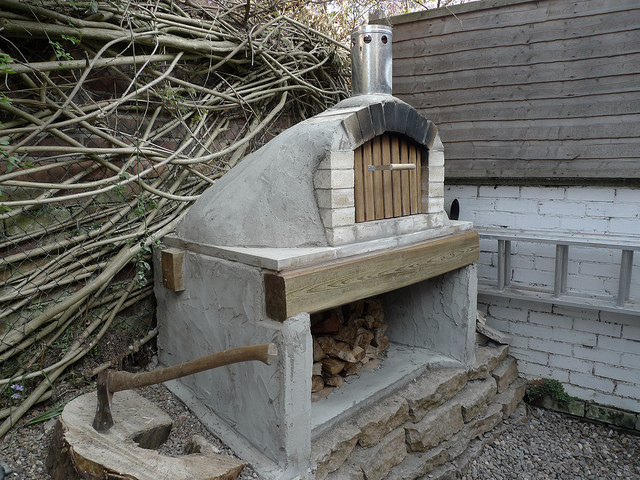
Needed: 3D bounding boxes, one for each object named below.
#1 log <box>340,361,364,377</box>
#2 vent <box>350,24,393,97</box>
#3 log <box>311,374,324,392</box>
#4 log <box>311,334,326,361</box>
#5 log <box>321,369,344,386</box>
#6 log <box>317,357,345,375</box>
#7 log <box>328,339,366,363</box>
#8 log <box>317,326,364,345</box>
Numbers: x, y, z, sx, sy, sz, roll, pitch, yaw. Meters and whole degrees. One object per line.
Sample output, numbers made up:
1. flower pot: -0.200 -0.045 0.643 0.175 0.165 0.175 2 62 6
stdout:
1. log: 0.243 1.035 3.427 0.141 0.039 0.141 -9 3 -13
2. vent: 0.397 -1.319 3.202 0.302 0.483 0.308 1 16 5
3. log: -0.024 1.092 3.245 0.101 0.054 0.141 5 11 34
4. log: -0.030 0.818 3.291 0.045 0.186 0.189 -18 -14 22
5. log: 0.094 1.078 3.318 0.102 0.048 0.154 -5 6 -32
6. log: 0.099 0.958 3.331 0.135 0.073 0.135 -3 4 -44
7. log: 0.221 0.890 3.409 0.206 0.058 0.209 -3 12 -45
8. log: 0.221 0.777 3.485 0.204 0.057 0.218 1 2 40
